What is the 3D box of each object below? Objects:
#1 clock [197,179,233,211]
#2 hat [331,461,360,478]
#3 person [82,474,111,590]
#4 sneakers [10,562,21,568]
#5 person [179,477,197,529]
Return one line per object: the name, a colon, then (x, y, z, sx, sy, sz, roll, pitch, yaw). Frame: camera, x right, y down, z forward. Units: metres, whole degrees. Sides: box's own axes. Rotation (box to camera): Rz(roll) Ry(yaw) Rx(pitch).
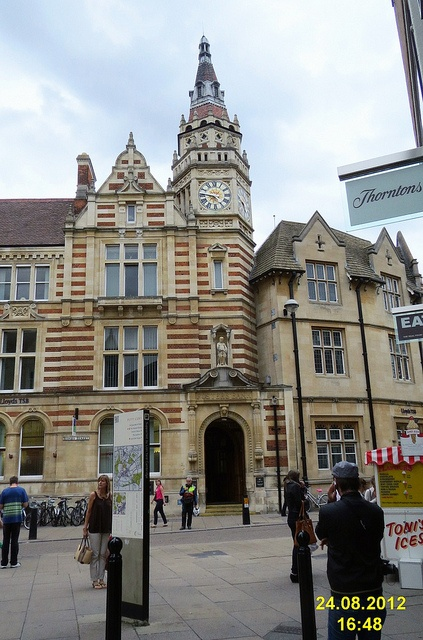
clock: (0.142, -6.658, 26.630, 1.648, 1.800, 0.109, 5, -20, -2)
hat: (0.954, 1.067, 3.559, 0.138, 0.080, 0.197, 1, -5, 6)
person: (-1.856, 3.468, 8.097, 0.417, 1.743, 0.691, 2, -15, -13)
sneakers: (-4.072, 5.140, 10.350, 0.069, 0.087, 0.197, -5, -12, 35)
person: (-0.839, 6.625, 17.941, 0.591, 1.694, 1.105, -1, -15, -2)
